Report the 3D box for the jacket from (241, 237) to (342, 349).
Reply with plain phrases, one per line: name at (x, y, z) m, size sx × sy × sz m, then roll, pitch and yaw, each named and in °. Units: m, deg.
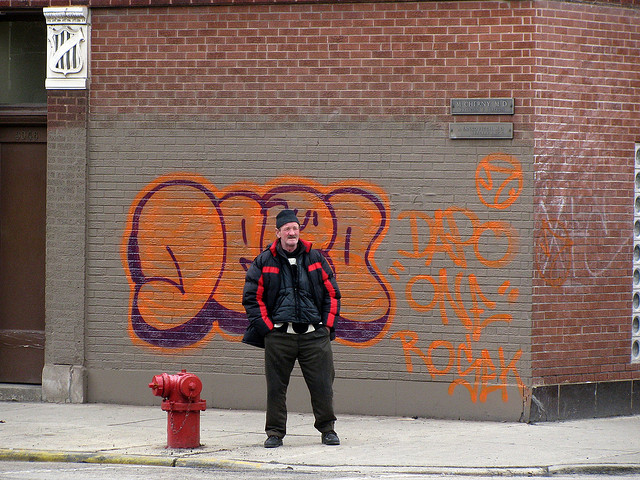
jacket at (-0.386, 0.634, 17.088) m, size 1.185 × 1.310 × 0.292 m, roll 0°, pitch -7°, yaw -3°
